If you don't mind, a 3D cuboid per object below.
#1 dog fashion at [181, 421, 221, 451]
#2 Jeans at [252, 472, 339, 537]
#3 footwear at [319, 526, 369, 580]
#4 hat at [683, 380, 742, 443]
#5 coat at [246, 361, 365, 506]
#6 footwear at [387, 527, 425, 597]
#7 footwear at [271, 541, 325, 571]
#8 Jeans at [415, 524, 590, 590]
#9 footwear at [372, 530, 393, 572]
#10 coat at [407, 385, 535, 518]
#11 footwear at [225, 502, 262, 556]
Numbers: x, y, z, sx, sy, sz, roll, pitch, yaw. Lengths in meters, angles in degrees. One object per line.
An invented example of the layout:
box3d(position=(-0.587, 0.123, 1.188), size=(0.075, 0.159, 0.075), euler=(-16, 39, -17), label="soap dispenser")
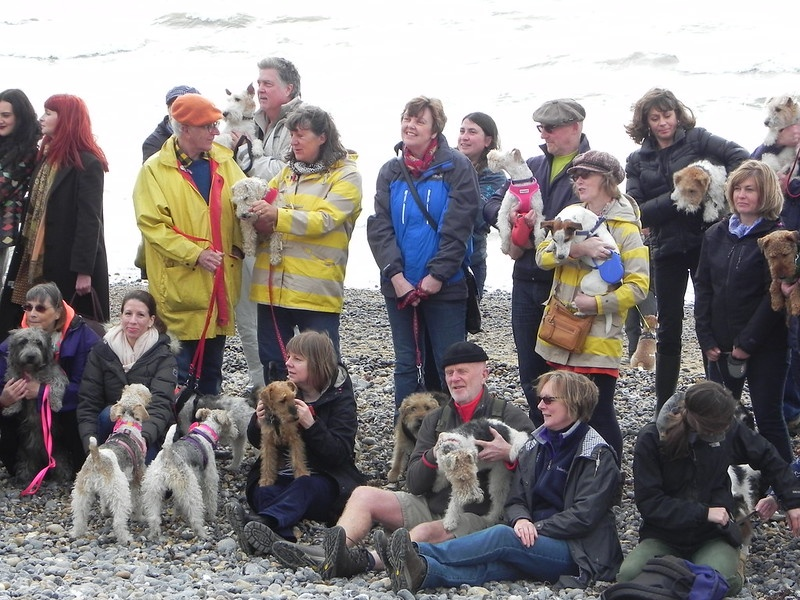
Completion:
box3d(position=(-1.695, 1.196, 8.270), size=(0.211, 0.247, 0.227), euler=(-31, 31, 7), label="dog fashion")
box3d(position=(-0.861, 1.709, 8.084), size=(0.431, 0.228, 0.640), euler=(-4, -2, 34), label="Jeans")
box3d(position=(-0.389, 1.933, 7.435), size=(0.409, 0.402, 0.222), euler=(4, -5, -44), label="footwear")
box3d(position=(2.332, 0.837, 7.328), size=(0.378, 0.452, 0.377), euler=(-4, -27, 6), label="hat")
box3d(position=(-1.183, 1.117, 8.317), size=(1.087, 1.205, 1.174), euler=(-2, -10, 31), label="coat")
box3d(position=(0.053, 1.929, 7.146), size=(0.195, 0.543, 0.396), euler=(-2, -8, 28), label="footwear")
box3d(position=(-0.797, 2.001, 7.494), size=(0.277, 0.089, 0.186), euler=(17, 1, 7), label="footwear")
box3d(position=(0.735, 1.989, 7.423), size=(1.334, 0.445, 0.477), euler=(-8, -7, -22), label="Jeans")
box3d(position=(-0.118, 1.868, 7.260), size=(0.122, 0.340, 0.159), euler=(-12, -13, 1), label="footwear")
box3d(position=(0.547, 1.202, 8.008), size=(1.065, 0.925, 1.036), euler=(-7, -8, -9), label="coat")
box3d(position=(-1.250, 1.778, 7.687), size=(0.174, 0.488, 0.227), euler=(-21, -6, 9), label="footwear")
